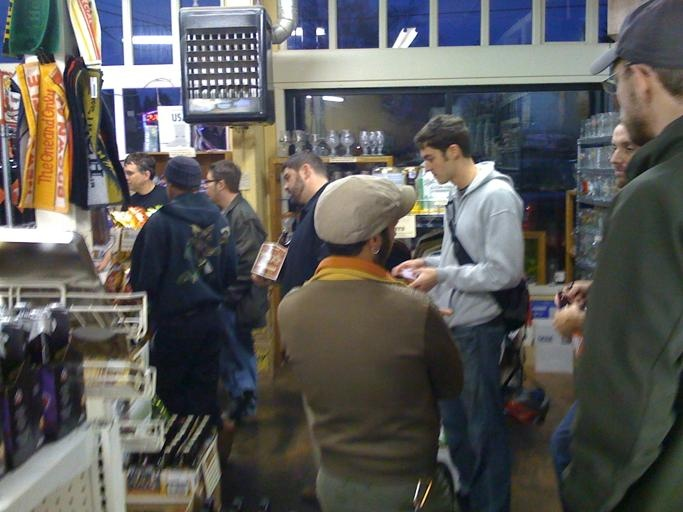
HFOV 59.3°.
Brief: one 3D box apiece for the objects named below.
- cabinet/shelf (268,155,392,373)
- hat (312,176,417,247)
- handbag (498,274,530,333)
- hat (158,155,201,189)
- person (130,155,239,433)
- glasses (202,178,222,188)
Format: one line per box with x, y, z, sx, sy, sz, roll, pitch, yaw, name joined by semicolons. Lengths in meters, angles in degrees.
-0.147;0.066;3.420;0.396;1.293;0.415;-5;0;5;cabinet/shelf
0.083;-0.198;1.992;0.375;0.180;0.268;-21;27;-32;hat
0.853;0.253;2.977;0.132;0.294;0.300;2;10;23;handbag
-0.895;-0.482;3.400;0.177;0.144;0.192;6;19;-8;hat
-0.879;0.321;3.211;0.227;1.284;0.686;3;10;27;person
-0.941;-0.530;4.336;0.109;0.035;0.108;1;0;-12;glasses
